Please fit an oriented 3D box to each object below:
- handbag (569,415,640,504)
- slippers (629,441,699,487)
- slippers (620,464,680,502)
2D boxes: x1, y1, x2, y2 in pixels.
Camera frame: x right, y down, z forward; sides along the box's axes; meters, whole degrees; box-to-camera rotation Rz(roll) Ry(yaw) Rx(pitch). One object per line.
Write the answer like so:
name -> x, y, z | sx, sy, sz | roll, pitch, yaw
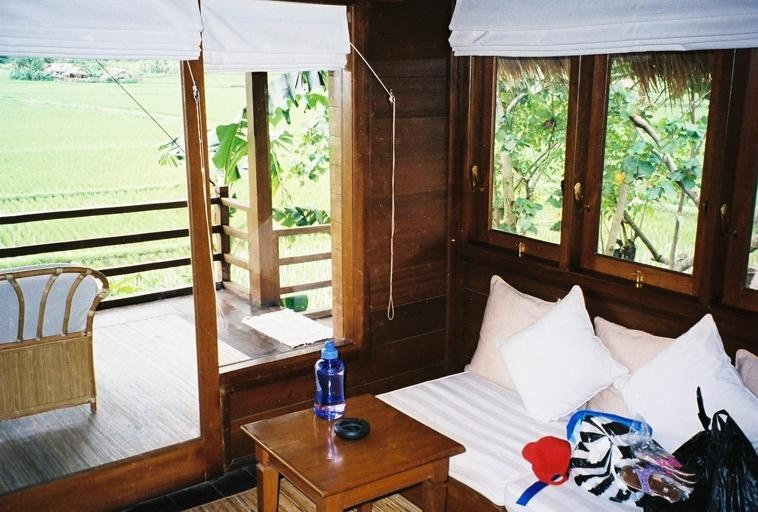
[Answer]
handbag -> 0.935, 0.869, 2.311 | 0.265, 0.338, 0.107 | 9, 2, 32
slippers -> 1.119, 0.827, 2.144 | 0.178, 0.111, 0.060 | 21, -9, 30
slippers -> 1.087, 0.905, 2.174 | 0.202, 0.100, 0.055 | 11, 6, 33
